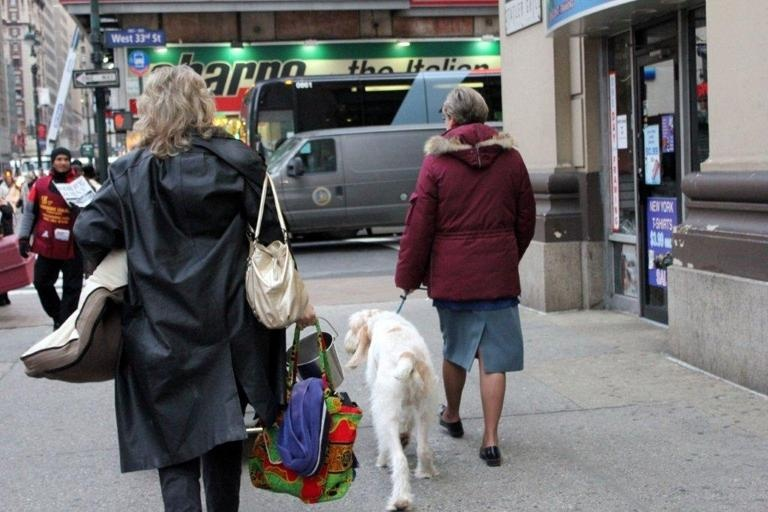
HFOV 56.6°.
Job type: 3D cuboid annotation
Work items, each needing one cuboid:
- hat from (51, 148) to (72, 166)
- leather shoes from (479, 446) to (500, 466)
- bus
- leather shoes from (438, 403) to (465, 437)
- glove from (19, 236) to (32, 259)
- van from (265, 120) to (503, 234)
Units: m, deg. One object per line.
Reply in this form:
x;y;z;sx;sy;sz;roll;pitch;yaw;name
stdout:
-4.310;-1.349;9.496;0.267;0.265;0.300;-2;2;-24;hat
0.807;1.501;5.400;0.172;0.148;0.145;-1;11;7;leather shoes
-0.947;-2.870;19.015;6.896;4.121;4.072;-2;3;-13;bus
0.540;1.384;5.945;0.101;0.114;0.304;-4;12;-10;leather shoes
-4.895;-0.119;9.658;0.204;0.273;0.283;2;-6;-40;glove
-0.372;-1.975;18.284;4.818;2.393;2.682;-2;4;-14;van
